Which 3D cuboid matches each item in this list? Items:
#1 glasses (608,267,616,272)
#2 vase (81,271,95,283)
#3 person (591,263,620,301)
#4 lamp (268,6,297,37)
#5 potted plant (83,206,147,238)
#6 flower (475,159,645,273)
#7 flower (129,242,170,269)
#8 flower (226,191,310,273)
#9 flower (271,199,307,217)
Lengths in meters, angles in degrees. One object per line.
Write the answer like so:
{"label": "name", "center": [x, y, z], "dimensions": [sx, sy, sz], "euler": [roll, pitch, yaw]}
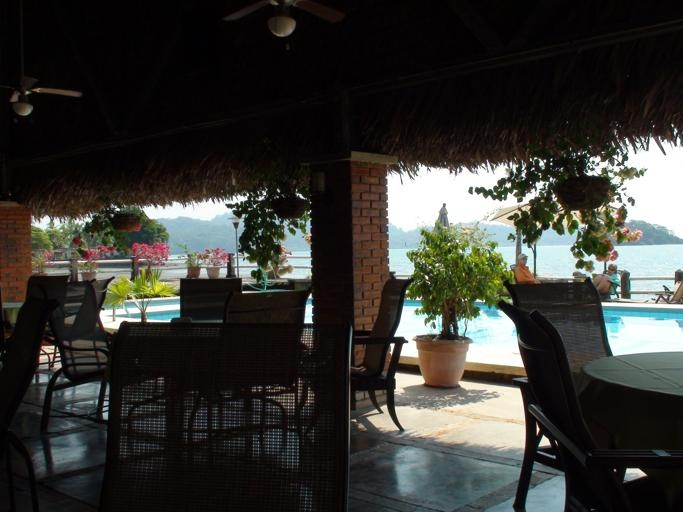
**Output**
{"label": "glasses", "center": [6.254, 0.276, 12.377], "dimensions": [0.130, 0.121, 0.133], "euler": [-2, 6, -9]}
{"label": "vase", "center": [-4.635, 0.360, 9.826], "dimensions": [0.235, 0.184, 0.240], "euler": [1, -1, -23]}
{"label": "person", "center": [6.333, 0.574, 12.785], "dimensions": [0.579, 0.801, 0.606], "euler": [2, 6, -28]}
{"label": "lamp", "center": [-0.412, -1.663, 3.785], "dimensions": [0.168, 0.176, 0.170], "euler": [-1, 2, 7]}
{"label": "potted plant", "center": [-3.733, -0.593, 8.791], "dimensions": [0.835, 0.365, 0.944], "euler": [0, -2, -36]}
{"label": "flower", "center": [1.859, -0.433, 4.499], "dimensions": [0.860, 0.437, 1.001], "euler": [1, 31, 16]}
{"label": "flower", "center": [-3.681, -0.051, 10.282], "dimensions": [0.818, 0.594, 0.826], "euler": [1, -2, -31]}
{"label": "flower", "center": [-0.765, -0.300, 6.098], "dimensions": [1.055, 0.959, 0.637], "euler": [0, 2, 43]}
{"label": "flower", "center": [-0.564, -0.530, 5.770], "dimensions": [0.345, 0.219, 0.243], "euler": [0, 2, 34]}
